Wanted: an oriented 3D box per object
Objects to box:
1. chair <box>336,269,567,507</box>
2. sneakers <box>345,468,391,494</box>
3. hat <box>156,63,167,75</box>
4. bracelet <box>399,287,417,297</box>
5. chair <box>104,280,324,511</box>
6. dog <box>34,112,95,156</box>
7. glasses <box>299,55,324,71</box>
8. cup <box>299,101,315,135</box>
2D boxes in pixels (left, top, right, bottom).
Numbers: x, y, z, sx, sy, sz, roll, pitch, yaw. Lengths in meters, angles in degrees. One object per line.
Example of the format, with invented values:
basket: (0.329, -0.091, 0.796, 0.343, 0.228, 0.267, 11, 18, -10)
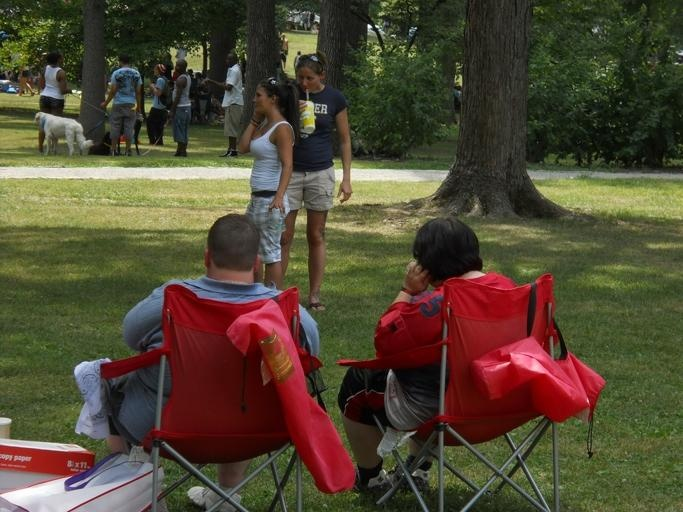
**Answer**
chair: (1.154, 0.847, 8.206, 2.144, 2.177, 1.470, 1, -3, -26)
sneakers: (0.195, 1.759, 8.021, 0.376, 0.175, 0.132, -5, 4, -11)
hat: (-3.988, -4.171, 23.188, 0.208, 0.262, 0.270, 2, 28, -11)
bracelet: (0.513, 0.272, 7.767, 0.077, 0.032, 0.067, 23, 2, -1)
chair: (-0.900, 0.970, 7.796, 1.924, 1.961, 1.352, 1, -5, -15)
dog: (-5.841, -2.572, 22.065, 1.186, 0.855, 1.783, 2, 5, -14)
glasses: (-0.291, -1.976, 10.776, 0.183, 0.205, 0.060, 0, 1, -1)
cup: (-0.306, -1.420, 10.729, 0.127, 0.357, 0.215, 7, 6, 40)
